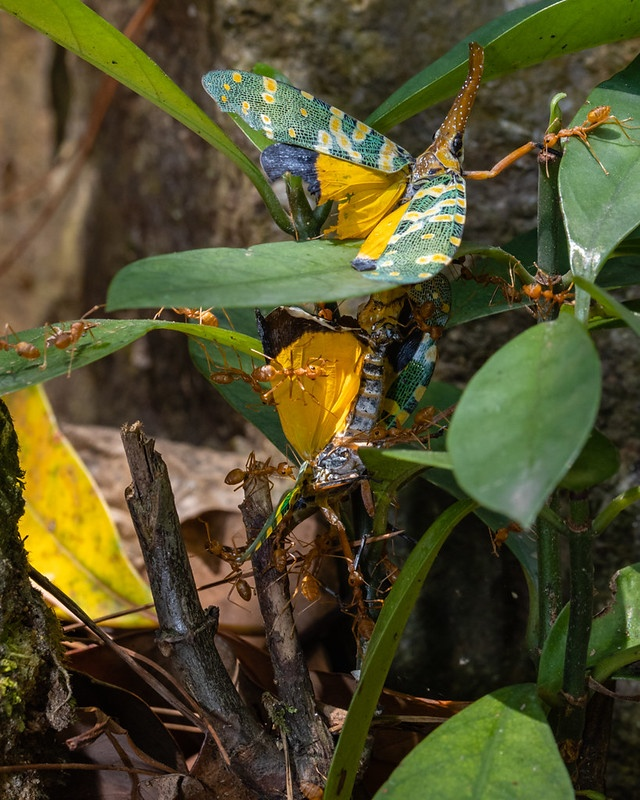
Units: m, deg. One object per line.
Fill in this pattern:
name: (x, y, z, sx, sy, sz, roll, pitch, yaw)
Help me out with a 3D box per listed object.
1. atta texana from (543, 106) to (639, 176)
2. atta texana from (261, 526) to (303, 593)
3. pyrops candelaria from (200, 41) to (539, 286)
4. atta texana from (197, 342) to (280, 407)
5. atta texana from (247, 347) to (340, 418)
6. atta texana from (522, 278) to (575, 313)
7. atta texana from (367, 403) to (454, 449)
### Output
atta texana: (0.281, -0.275, 0.958, 0.077, 0.054, 0.092, 18, 48, 21)
atta texana: (-0.048, 0.166, 1.039, 0.057, 0.018, 0.061, 3, 36, -7)
pyrops candelaria: (0.053, -0.226, 0.909, 0.354, 0.190, 0.234, 0, 67, 12)
atta texana: (-0.089, -0.036, 1.069, 0.125, 0.072, 0.034, 20, 44, 22)
atta texana: (-0.029, -0.024, 0.980, 0.091, 0.075, 0.048, -4, 49, 1)
atta texana: (0.233, -0.107, 0.936, 0.047, 0.016, 0.042, 16, 50, 16)
atta texana: (0.104, 0.036, 1.032, 0.081, 0.052, 0.026, -33, 23, -8)
